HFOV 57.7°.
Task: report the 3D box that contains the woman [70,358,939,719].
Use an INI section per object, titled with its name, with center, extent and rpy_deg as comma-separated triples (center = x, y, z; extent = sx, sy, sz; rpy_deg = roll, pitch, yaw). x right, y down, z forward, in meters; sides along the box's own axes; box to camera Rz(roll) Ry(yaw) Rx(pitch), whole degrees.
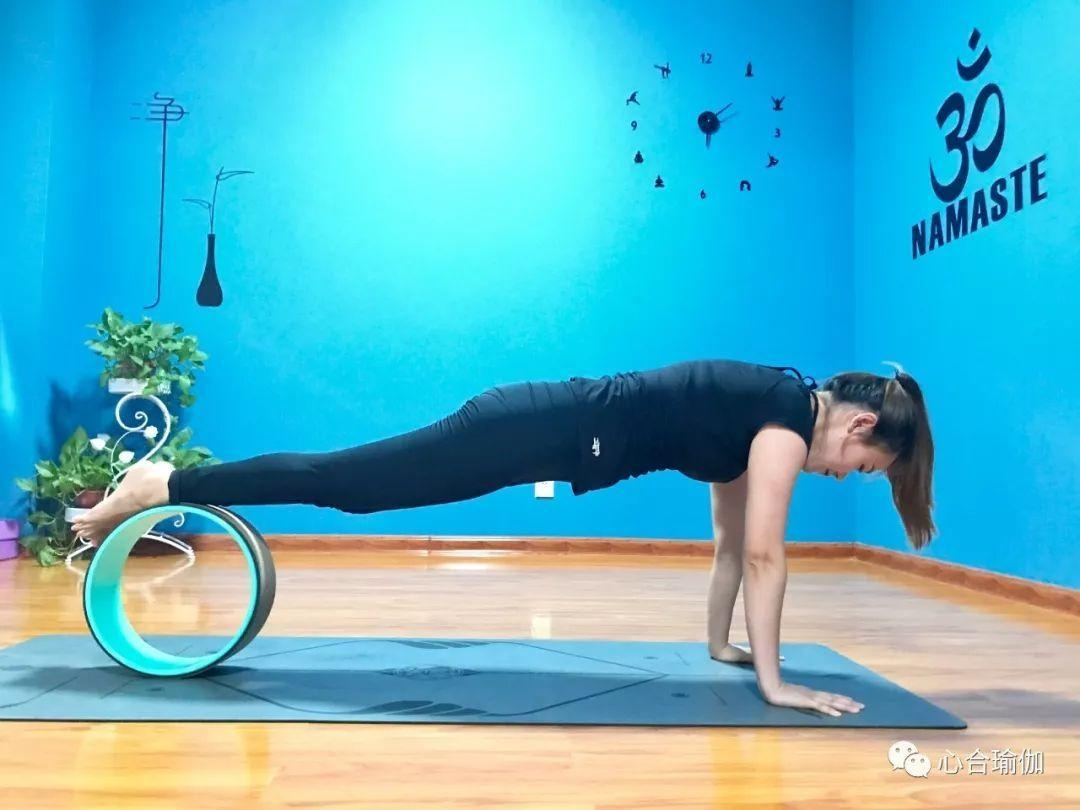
[woman]
center = -0.051, 0.376, 3.189
extent = 2.689, 1.058, 0.898
rpy_deg = -3, 16, -2

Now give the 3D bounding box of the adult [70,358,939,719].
[adult]
center = -0.278, 0.439, 3.513
extent = 3.121, 1.236, 1.064
rpy_deg = 0, -2, 3

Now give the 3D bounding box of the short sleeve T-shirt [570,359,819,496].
[short sleeve T-shirt]
center = 0.452, 0.046, 2.994
extent = 0.638, 0.400, 0.221
rpy_deg = -13, -44, 3
